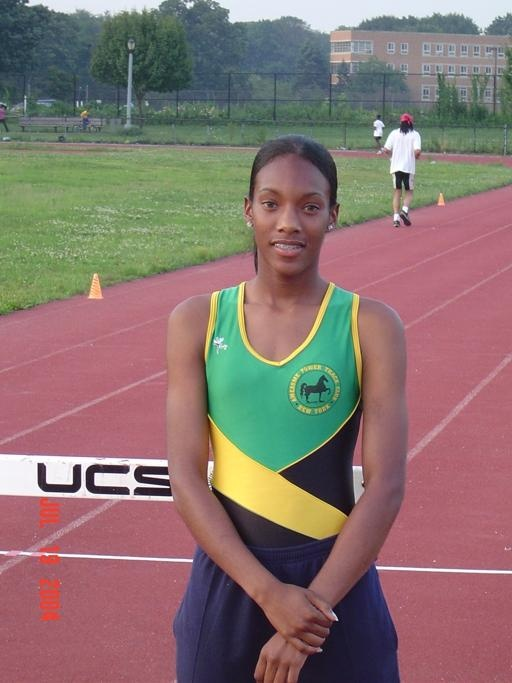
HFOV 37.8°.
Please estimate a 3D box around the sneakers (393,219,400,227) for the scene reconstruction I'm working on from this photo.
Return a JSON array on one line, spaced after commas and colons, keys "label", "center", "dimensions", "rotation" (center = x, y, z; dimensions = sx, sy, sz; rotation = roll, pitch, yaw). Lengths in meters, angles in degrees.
[{"label": "sneakers", "center": [2.353, -1.968, 12.488], "dimensions": [0.078, 0.127, 0.121], "rotation": [1, -19, 3]}]
